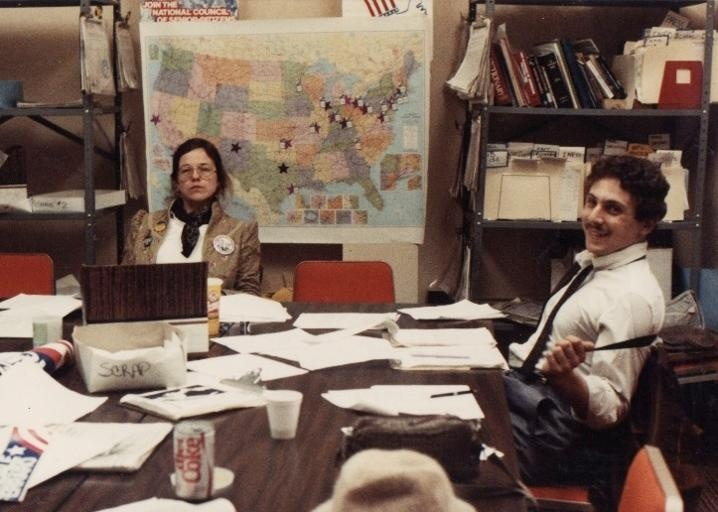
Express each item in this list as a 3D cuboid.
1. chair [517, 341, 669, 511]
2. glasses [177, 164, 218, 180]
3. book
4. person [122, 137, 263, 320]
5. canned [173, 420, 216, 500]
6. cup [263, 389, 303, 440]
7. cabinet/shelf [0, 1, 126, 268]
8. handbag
[{"bbox_3d":[0.695,0.508,2.317,0.528,0.645,0.525,2,-1,5],"label":"chair"},{"bbox_3d":[-0.731,-0.380,2.980,0.159,0.062,0.053,-2,7,-15],"label":"glasses"},{"bbox_3d":[0.973,-0.909,3.291,0.540,0.395,0.180,-5,-8,-4],"label":"book"},{"bbox_3d":[-0.789,-0.111,3.003,0.745,0.824,0.468,5,2,-4],"label":"person"},{"bbox_3d":[-0.351,0.428,1.388,0.089,0.149,0.073,-2,7,-12],"label":"canned"},{"bbox_3d":[-0.175,0.368,1.552,0.100,0.104,0.105,0,-1,0],"label":"cup"},{"bbox_3d":[-1.631,-0.690,3.654,0.639,1.493,0.679,-3,7,-19],"label":"cabinet/shelf"},{"bbox_3d":[0.137,0.420,1.515,0.171,0.066,0.166,-1,6,-7],"label":"handbag"}]
